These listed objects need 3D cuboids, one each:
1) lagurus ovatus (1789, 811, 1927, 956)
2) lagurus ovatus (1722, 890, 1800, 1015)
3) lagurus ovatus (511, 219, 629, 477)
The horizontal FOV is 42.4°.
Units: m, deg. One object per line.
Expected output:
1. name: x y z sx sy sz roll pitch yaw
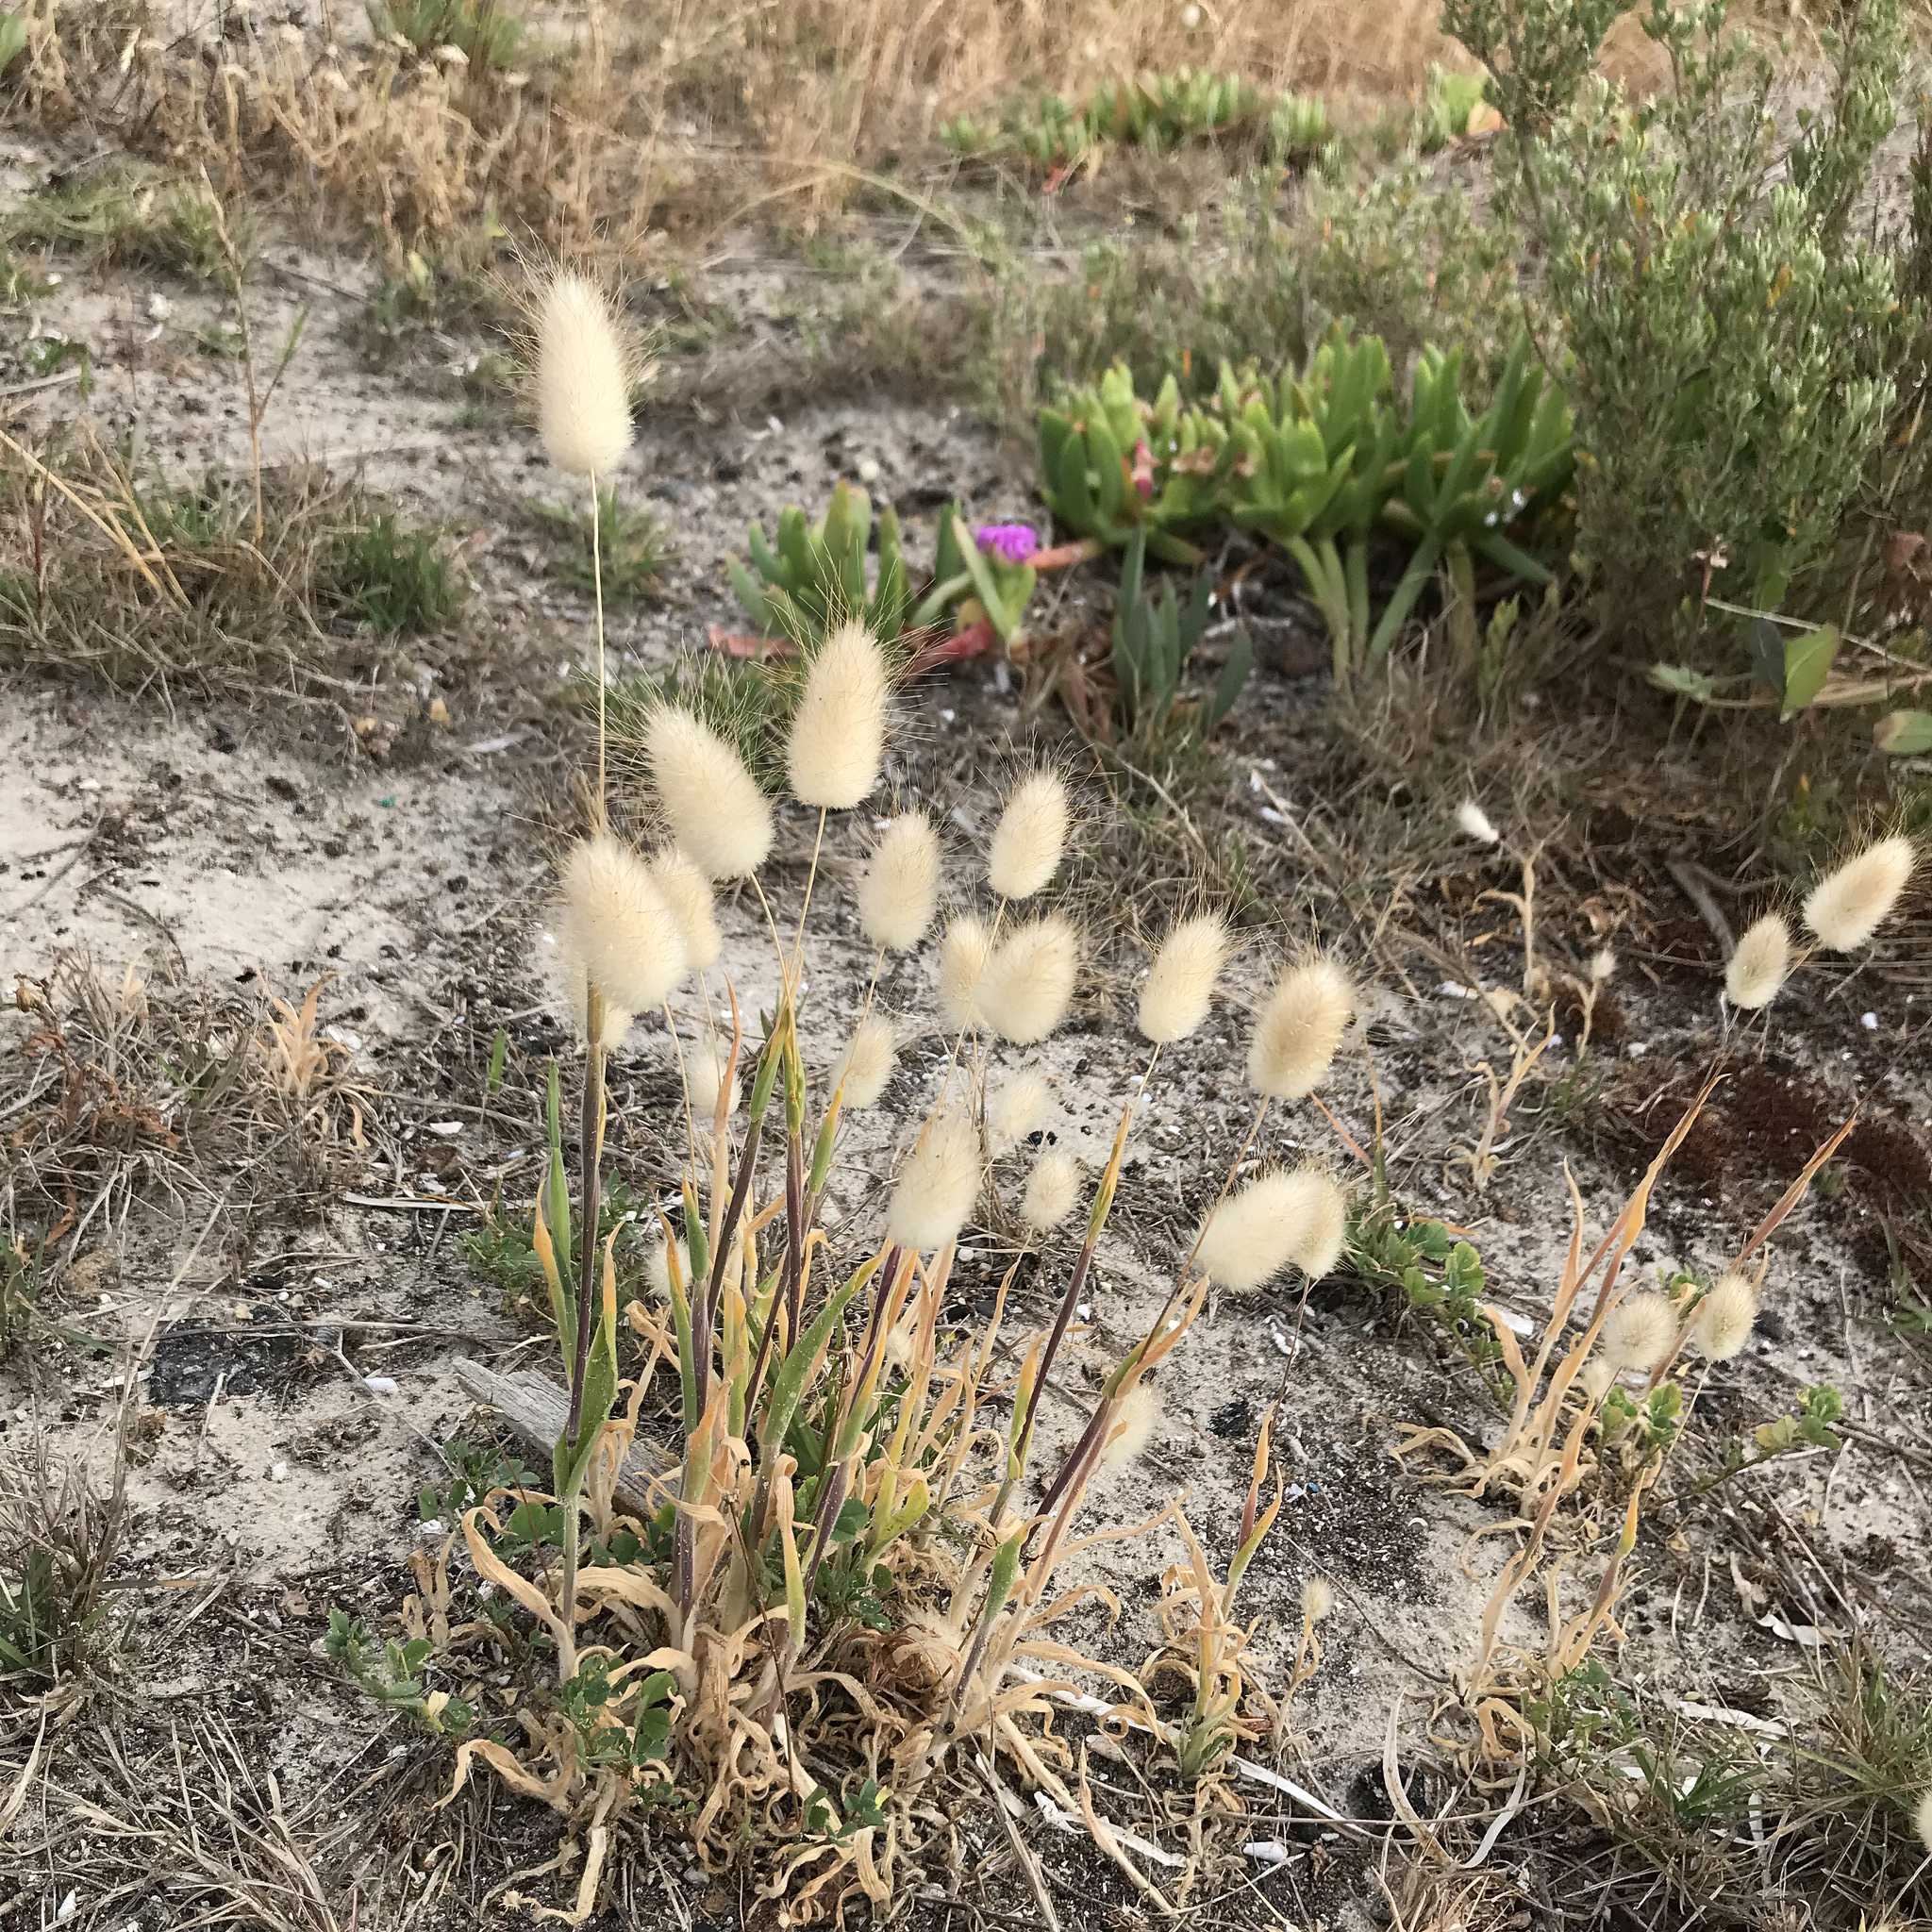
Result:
1. lagurus ovatus: 1.577 -0.149 4.390 0.144 0.087 0.242 33 73 7
2. lagurus ovatus: 1.375 -0.016 4.310 0.124 0.234 0.062 26 14 27
3. lagurus ovatus: -0.466 -0.714 3.016 0.118 0.217 0.312 2 32 -10
